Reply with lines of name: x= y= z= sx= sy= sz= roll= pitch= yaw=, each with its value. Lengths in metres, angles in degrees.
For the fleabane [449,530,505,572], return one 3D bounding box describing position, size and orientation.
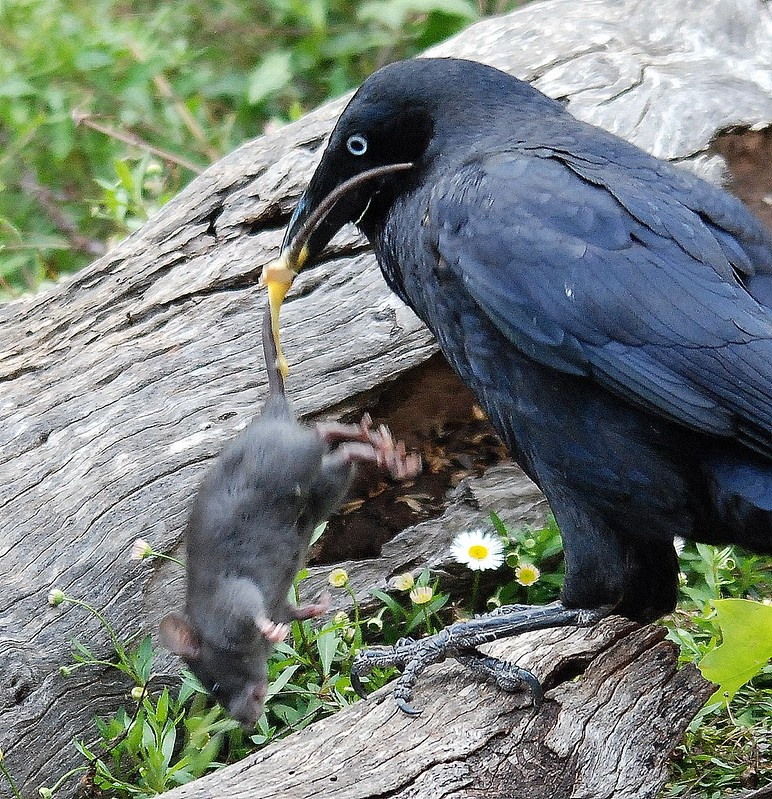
fleabane: x=0.227 y=0.360 z=2.737 sx=0.116 sy=0.041 sz=0.123 roll=33 pitch=42 yaw=26
